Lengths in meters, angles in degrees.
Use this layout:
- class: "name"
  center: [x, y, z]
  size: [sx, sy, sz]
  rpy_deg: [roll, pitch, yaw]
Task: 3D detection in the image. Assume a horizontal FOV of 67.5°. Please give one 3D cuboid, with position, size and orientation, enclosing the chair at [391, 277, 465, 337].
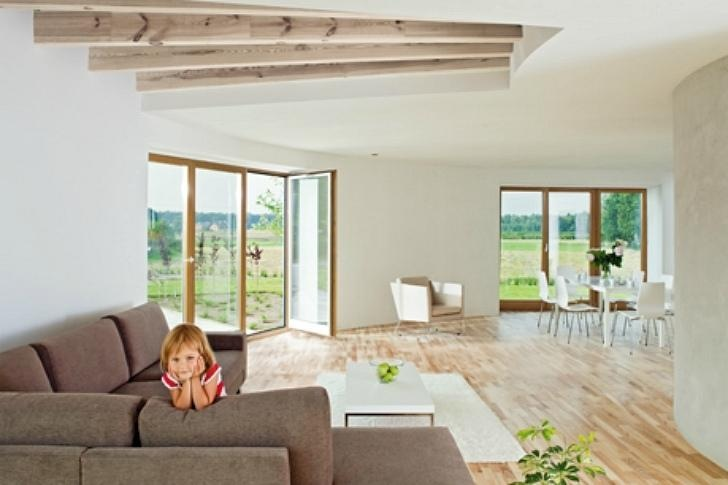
- class: "chair"
  center: [1.033, 1.005, 8.861]
  size: [0.937, 0.797, 0.933]
  rpy_deg: [0, 0, -31]

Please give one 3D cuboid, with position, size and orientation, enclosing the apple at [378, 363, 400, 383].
- class: "apple"
  center: [0.240, 1.324, 5.585]
  size: [0.200, 0.127, 0.193]
  rpy_deg: [4, -8, -13]

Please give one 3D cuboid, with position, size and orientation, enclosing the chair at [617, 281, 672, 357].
- class: "chair"
  center: [4.294, 0.967, 8.400]
  size: [0.825, 1.112, 1.940]
  rpy_deg: [4, 10, 28]

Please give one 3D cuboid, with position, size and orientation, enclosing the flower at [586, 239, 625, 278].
- class: "flower"
  center: [3.897, 0.253, 8.814]
  size: [0.618, 0.511, 0.620]
  rpy_deg: [11, -13, -42]
